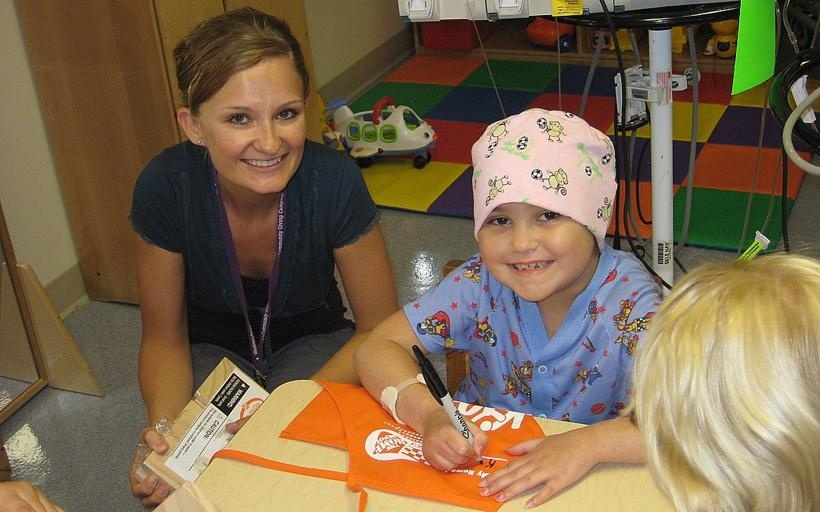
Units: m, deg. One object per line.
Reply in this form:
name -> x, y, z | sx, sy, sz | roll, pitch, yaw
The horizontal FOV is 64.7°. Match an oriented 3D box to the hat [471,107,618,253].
hat -> 0.321, -0.215, 1.543 | 0.259, 0.362, 0.301 | 4, 64, 10

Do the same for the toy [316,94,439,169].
toy -> -0.153, -0.784, 4.020 | 0.576, 0.315, 0.473 | 13, 40, 13
